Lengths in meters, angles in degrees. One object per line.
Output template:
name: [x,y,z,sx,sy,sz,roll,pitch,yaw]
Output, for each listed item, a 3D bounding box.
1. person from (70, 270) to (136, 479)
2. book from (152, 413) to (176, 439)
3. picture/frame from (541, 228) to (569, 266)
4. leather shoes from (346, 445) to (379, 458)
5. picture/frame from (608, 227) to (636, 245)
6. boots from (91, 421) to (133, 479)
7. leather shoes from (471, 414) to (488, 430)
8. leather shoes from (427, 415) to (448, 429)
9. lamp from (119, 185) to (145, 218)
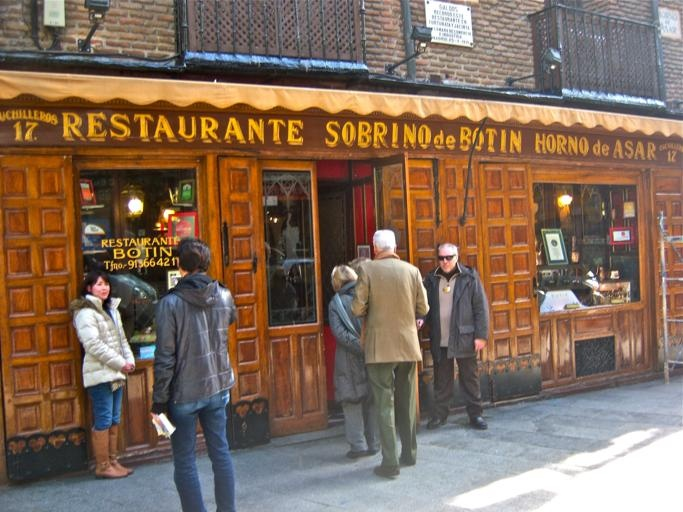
person: [-2.681,1.349,7.723,0.633,2.331,0.354,-2,2,-26]
book: [-1.590,1.526,6.119,0.185,0.248,0.191,-2,3,-2]
picture/frame: [3.482,-0.140,11.190,0.049,0.539,0.440,-9,11,46]
leather shoes: [0.263,2.322,8.110,0.353,0.174,0.139,1,1,-2]
picture/frame: [4.893,-0.346,11.935,0.477,0.306,0.080,-3,3,-20]
boots: [-2.620,2.228,7.894,0.514,0.760,0.361,-1,2,-15]
leather shoes: [1.844,2.230,9.129,0.099,0.112,0.276,-1,-1,-26]
leather shoes: [1.295,2.259,9.275,0.108,0.144,0.308,-4,-4,37]
lamp: [-2.579,-0.661,8.408,0.332,0.629,0.321,-1,0,-24]
